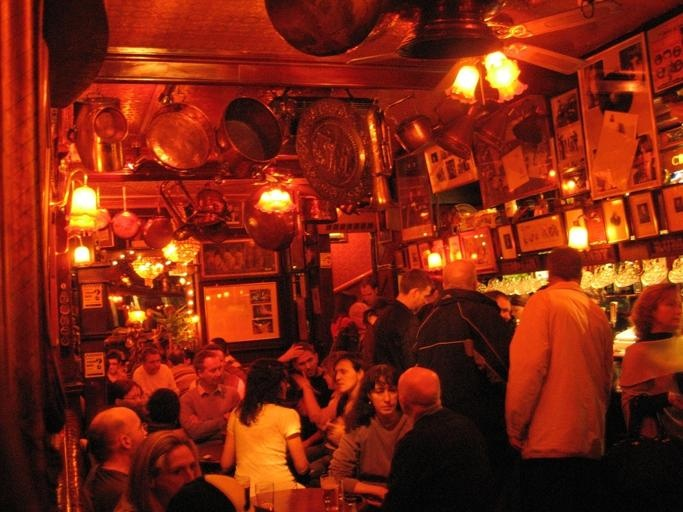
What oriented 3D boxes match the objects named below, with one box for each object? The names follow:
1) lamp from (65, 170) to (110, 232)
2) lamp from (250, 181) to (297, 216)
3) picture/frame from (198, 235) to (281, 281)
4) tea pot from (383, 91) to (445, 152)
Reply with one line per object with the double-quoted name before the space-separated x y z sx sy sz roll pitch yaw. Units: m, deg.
"lamp" -1.734 -0.361 3.998 0.236 0.375 0.223 -1 2 -1
"lamp" -0.575 -0.480 4.871 0.364 0.227 0.178 -7 -5 19
"picture/frame" -1.581 0.004 9.297 1.175 0.632 0.101 -4 11 -5
"tea pot" 0.489 -0.897 4.111 0.393 0.284 0.330 -25 12 0
